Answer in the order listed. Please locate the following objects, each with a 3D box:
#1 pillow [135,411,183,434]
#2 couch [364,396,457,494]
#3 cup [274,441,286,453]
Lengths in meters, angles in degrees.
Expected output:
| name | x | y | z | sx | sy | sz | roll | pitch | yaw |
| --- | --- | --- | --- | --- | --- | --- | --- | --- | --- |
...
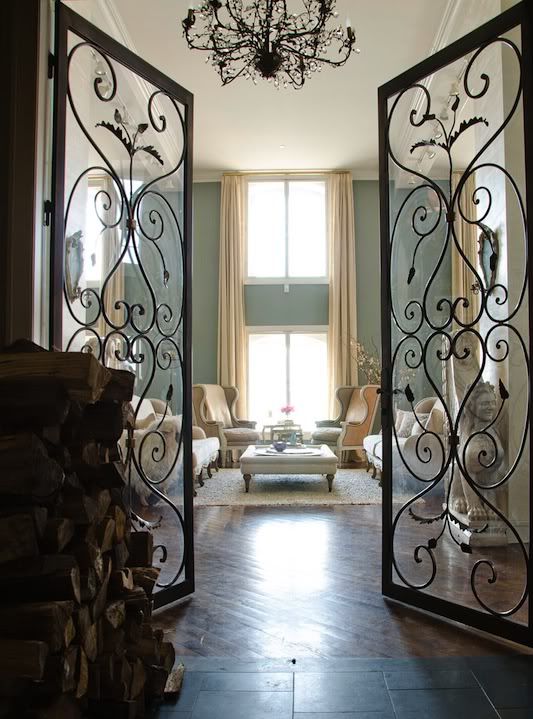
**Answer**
| name | x | y | z | sx | sy | sz | roll | pitch | yaw |
| --- | --- | --- | --- | --- | --- | --- | --- | --- | --- |
| pillow | -0.486 | 0.297 | 2.694 | 0.029 | 0.108 | 0.323 | 1 | 5 | 22 |
| couch | 0.652 | 0.389 | 2.756 | 0.327 | 0.515 | 0.279 | 4 | 4 | -35 |
| cup | 0.146 | 0.900 | 6.004 | 0.080 | 0.087 | 0.088 | 0 | -4 | 0 |
